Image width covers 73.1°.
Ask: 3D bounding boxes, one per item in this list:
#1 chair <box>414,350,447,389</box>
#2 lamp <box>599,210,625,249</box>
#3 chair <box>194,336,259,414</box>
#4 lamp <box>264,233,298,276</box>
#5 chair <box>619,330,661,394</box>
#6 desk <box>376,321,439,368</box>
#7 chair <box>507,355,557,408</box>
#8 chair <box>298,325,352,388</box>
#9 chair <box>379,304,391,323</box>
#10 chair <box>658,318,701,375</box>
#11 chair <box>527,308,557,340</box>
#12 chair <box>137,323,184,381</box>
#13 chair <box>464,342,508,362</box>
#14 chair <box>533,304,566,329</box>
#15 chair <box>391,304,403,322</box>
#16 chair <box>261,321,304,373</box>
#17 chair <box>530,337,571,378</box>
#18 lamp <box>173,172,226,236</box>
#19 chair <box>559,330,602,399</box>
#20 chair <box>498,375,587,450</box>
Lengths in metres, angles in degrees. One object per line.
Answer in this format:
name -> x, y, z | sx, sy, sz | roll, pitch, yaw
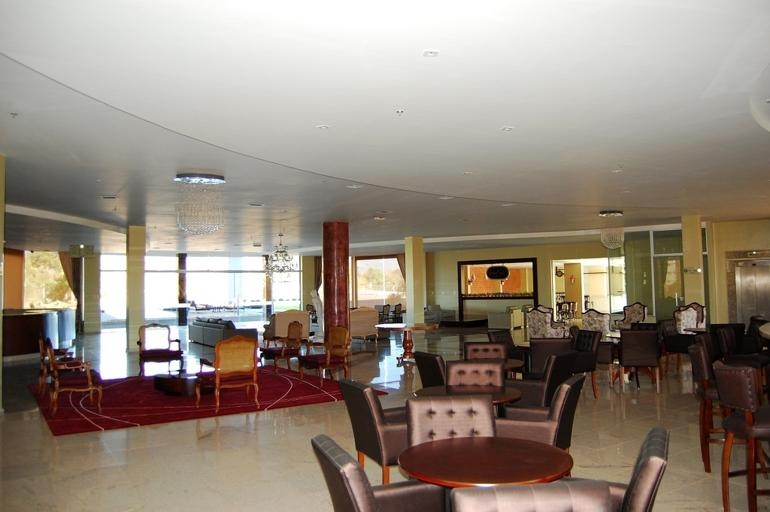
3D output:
chair -> 0.681, 1.661, 7.527 | 0.375, 0.517, 0.605 | -1, -3, -8
lamp -> 6.411, -0.784, 14.604 | 0.859, 1.044, 0.807 | 0, -5, 2
chair -> -2.766, 1.987, 9.099 | 1.087, 1.242, 1.028 | 0, -3, -20
lamp -> -3.570, -0.126, 17.752 | 0.897, 1.196, 0.922 | 12, 14, 38
chair -> 4.808, 1.970, 9.819 | 0.753, 1.154, 0.750 | -2, -4, 26
desk -> 0.633, 2.418, 14.270 | 1.707, 0.904, 1.456 | -1, -12, -8
chair -> 1.980, 1.713, 7.125 | 0.721, 0.861, 0.654 | -1, -5, 29
chair -> -1.275, 1.971, 10.858 | 1.023, 1.004, 0.891 | 0, -3, -28
chair -> 0.055, 2.592, 23.347 | 0.567, 0.878, 0.686 | 3, -3, -45
chair -> 6.611, 1.936, 11.452 | 0.974, 0.921, 0.951 | 0, 0, -6
chair -> 4.185, 1.709, 13.628 | 0.660, 0.773, 0.886 | 2, 4, 17
chair -> -5.335, 2.147, 12.095 | 1.011, 1.204, 0.995 | -6, -6, 38
chair -> 1.631, 1.510, 8.386 | 0.649, 0.232, 0.250 | -2, -3, -2
chair -> 4.244, 1.631, 13.486 | 0.754, 0.885, 0.660 | -1, 4, 8
chair -> 0.411, 2.646, 23.765 | 0.590, 0.905, 0.661 | 1, 0, -18
chair -> -2.502, 2.142, 12.523 | 0.880, 1.092, 0.838 | 2, -4, -44
chair -> 2.803, 1.801, 9.066 | 0.483, 0.491, 0.499 | -1, -13, 20
lamp -> -3.247, -0.880, 8.919 | 1.072, 1.065, 1.013 | 0, -3, -3
chair -> 3.418, 1.951, 9.484 | 0.822, 1.138, 0.755 | 1, 0, -17
chair -> 1.645, 1.442, 5.452 | 0.627, 0.671, 0.714 | 14, -15, -22
